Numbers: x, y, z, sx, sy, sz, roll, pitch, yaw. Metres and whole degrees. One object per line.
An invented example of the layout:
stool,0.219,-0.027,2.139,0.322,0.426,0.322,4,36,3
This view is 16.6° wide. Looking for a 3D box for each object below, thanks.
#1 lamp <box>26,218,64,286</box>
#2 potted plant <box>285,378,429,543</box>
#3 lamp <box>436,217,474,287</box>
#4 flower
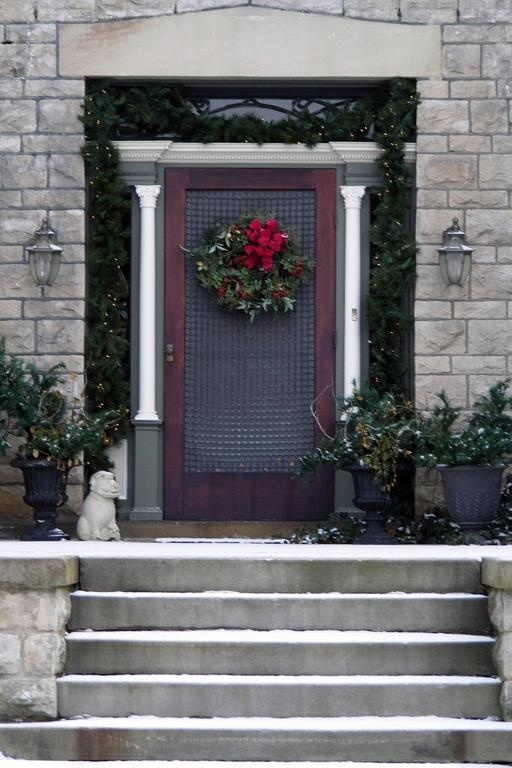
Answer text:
lamp,-1.172,-0.728,9.573,0.202,0.384,0.205,0,2,-8
potted plant,0.581,0.443,9.199,0.693,0.976,0.752,1,-10,-2
lamp,1.086,-0.725,9.528,0.189,0.367,0.204,1,2,6
flower,-0.044,-0.669,9.915,0.577,0.629,0.258,8,6,-2
